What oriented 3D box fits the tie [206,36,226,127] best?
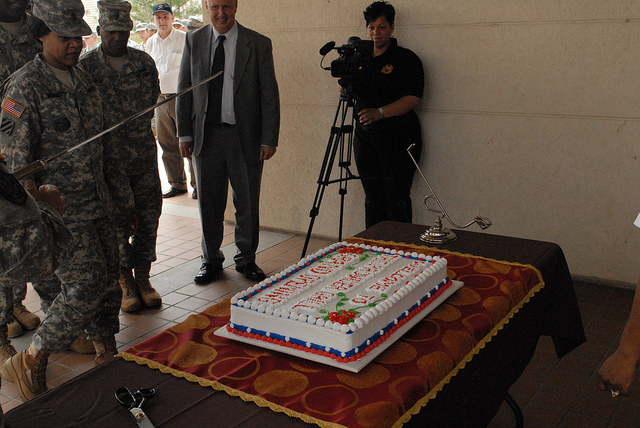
[{"bbox_3d":[-0.856,-1.096,4.278,0.128,0.746,0.079,2,-4,23],"label":"tie"}]

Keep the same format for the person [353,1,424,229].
[{"bbox_3d":[0.586,-0.816,4.515,0.607,1.908,0.895,5,23,10],"label":"person"}]

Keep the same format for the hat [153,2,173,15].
[{"bbox_3d":[-2.056,-2.669,6.780,0.175,0.120,0.235,-3,-13,-3],"label":"hat"}]
